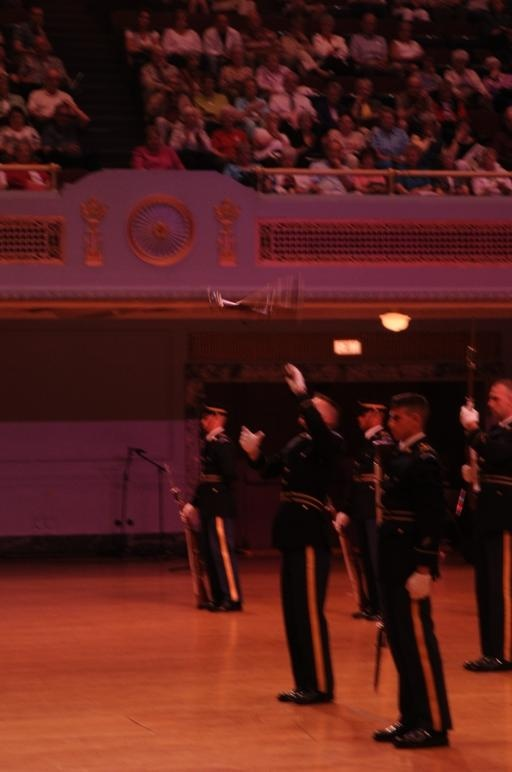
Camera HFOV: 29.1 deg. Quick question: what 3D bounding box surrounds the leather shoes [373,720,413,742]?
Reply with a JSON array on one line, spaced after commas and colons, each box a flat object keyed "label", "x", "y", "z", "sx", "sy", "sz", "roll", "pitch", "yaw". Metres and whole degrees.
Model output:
[{"label": "leather shoes", "x": 0.631, "y": 1.607, "z": 4.620, "sx": 0.201, "sy": 0.071, "sz": 0.065, "roll": -17, "pitch": 13, "yaw": 36}]

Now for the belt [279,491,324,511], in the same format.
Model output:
[{"label": "belt", "x": 0.242, "y": 0.586, "z": 5.083, "sx": 0.186, "sy": 0.060, "sz": 0.035, "roll": 19, "pitch": 25, "yaw": 1}]

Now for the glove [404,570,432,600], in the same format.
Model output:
[{"label": "glove", "x": 0.759, "y": 0.922, "z": 4.590, "sx": 0.123, "sy": 0.132, "sz": 0.044, "roll": 2, "pitch": 6, "yaw": 8}]

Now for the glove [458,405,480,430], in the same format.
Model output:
[{"label": "glove", "x": 1.175, "y": 0.130, "z": 5.369, "sx": 0.073, "sy": 0.131, "sz": 0.179, "roll": -7, "pitch": 37, "yaw": -7}]

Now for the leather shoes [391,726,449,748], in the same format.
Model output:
[{"label": "leather shoes", "x": 0.763, "y": 1.621, "z": 4.593, "sx": 0.283, "sy": 0.094, "sz": 0.087, "roll": 2, "pitch": -6, "yaw": -1}]
